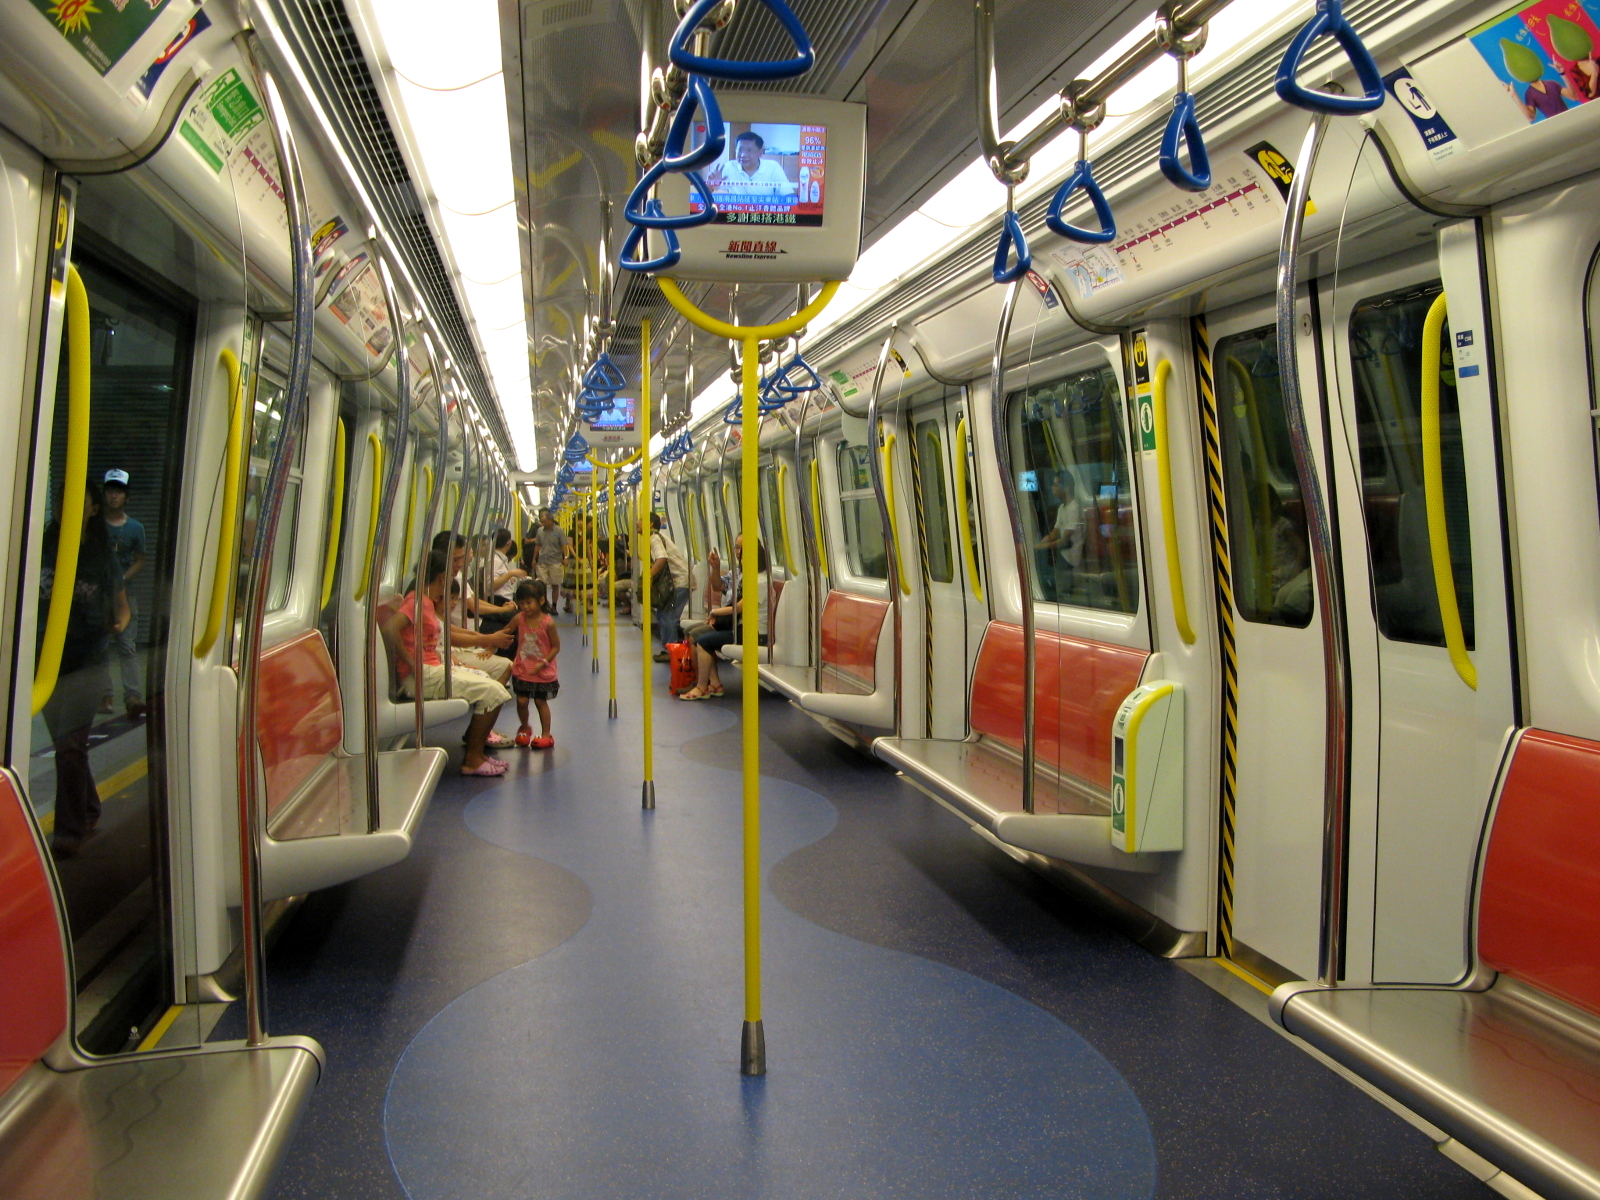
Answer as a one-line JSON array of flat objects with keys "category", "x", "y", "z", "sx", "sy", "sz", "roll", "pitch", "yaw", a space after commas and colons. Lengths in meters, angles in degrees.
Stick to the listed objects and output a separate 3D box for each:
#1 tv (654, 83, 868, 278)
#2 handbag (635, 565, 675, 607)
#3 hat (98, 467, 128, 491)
[{"category": "tv", "x": -0.110, "y": -1.150, "z": 3.017, "sx": 0.459, "sy": 0.498, "sz": 0.183, "roll": 0, "pitch": -2, "yaw": -8}, {"category": "handbag", "x": -1.302, "y": -0.145, "z": 9.946, "sx": 0.136, "sy": 0.189, "sz": 0.476, "roll": 2, "pitch": 39, "yaw": 1}, {"category": "hat", "x": -2.058, "y": -0.364, "z": 3.268, "sx": 0.066, "sy": 0.058, "sz": 0.118, "roll": 4, "pitch": -2, "yaw": -11}]
